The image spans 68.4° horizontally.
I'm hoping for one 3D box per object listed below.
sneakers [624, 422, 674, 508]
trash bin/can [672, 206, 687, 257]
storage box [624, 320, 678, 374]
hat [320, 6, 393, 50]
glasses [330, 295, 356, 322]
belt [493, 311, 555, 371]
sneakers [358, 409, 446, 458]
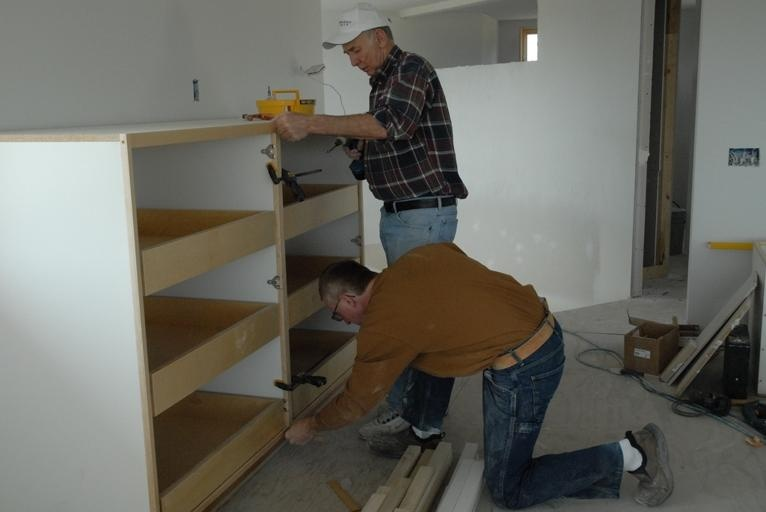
[{"bbox_3d":[1.270,0.995,2.656,0.191,0.418,0.192,-8,0,-13],"label":"sneakers"},{"bbox_3d":[3.433,-0.283,6.554,0.158,0.586,0.385,4,15,29],"label":"trash bin/can"},{"bbox_3d":[1.963,0.644,3.933,0.435,0.198,0.238,-7,6,-21],"label":"storage box"},{"bbox_3d":[-0.131,-1.165,2.923,0.339,0.156,0.227,-30,28,-13],"label":"hat"},{"bbox_3d":[-0.162,0.241,2.536,0.142,0.043,0.104,-28,5,-1],"label":"glasses"},{"bbox_3d":[0.628,0.373,2.430,0.308,0.322,0.080,-11,39,4],"label":"belt"},{"bbox_3d":[0.064,0.990,3.207,0.549,0.261,0.196,11,0,0],"label":"sneakers"}]
